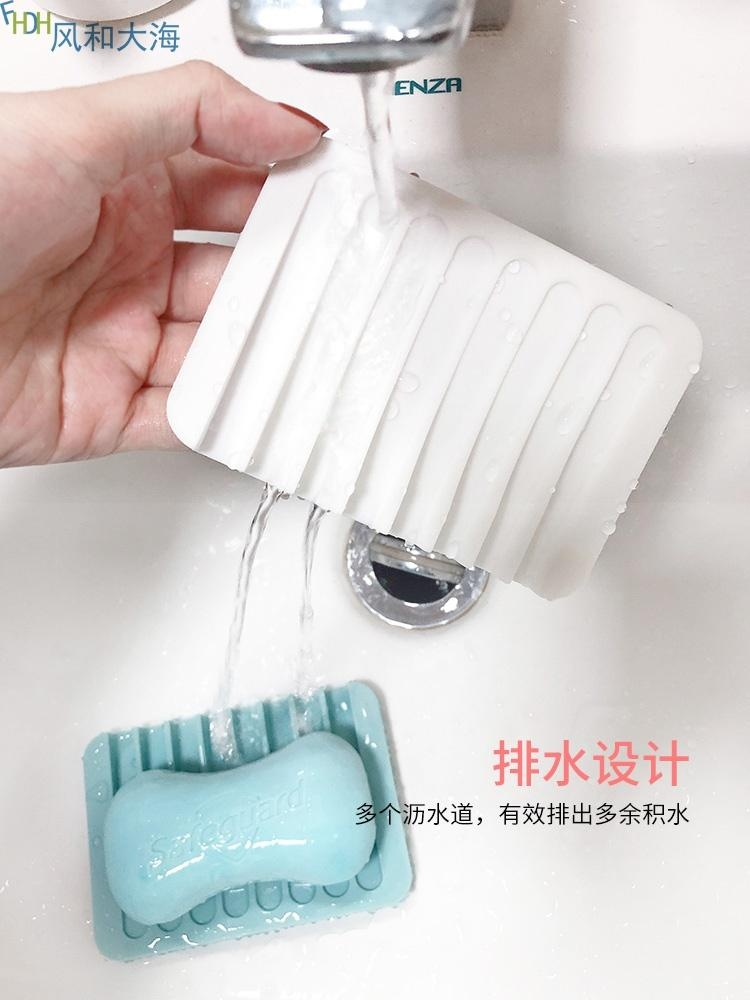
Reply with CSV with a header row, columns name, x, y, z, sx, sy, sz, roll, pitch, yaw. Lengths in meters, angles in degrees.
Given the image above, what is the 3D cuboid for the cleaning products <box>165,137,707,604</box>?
name,x,y,z,sx,sy,sz,roll,pitch,yaw
cleaning products,0.037,-0.067,0.527,0.265,0.198,0.172,16,66,19

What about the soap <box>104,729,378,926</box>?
name,x,y,z,sx,sy,sz,roll,pitch,yaw
soap,-0.075,0.195,0.518,0.159,0.056,0.091,-12,70,4
